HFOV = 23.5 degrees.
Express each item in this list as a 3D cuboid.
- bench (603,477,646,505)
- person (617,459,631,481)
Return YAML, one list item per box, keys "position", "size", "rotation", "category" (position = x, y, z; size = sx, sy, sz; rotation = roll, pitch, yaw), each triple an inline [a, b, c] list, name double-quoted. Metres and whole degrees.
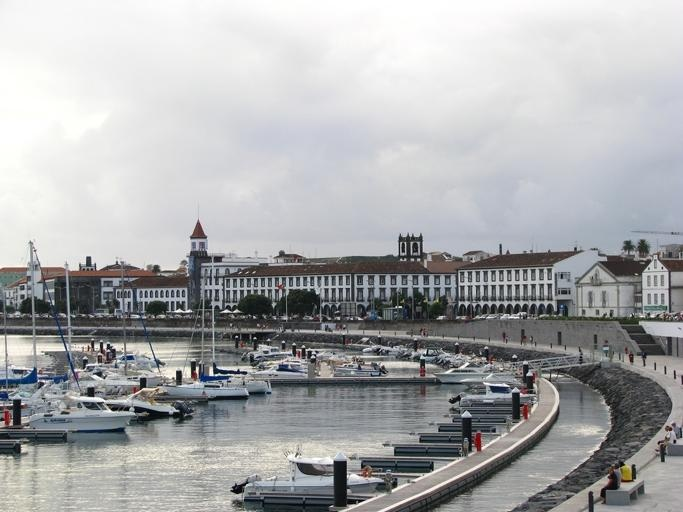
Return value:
- position: [16.229, 13.374, 93.167]
  size: [2.497, 1.258, 1.013]
  rotation: [1, -6, -44]
  category: "bench"
- position: [16.504, 12.289, 94.136]
  size: [0.884, 1.230, 0.864]
  rotation: [-4, 4, -11]
  category: "person"
